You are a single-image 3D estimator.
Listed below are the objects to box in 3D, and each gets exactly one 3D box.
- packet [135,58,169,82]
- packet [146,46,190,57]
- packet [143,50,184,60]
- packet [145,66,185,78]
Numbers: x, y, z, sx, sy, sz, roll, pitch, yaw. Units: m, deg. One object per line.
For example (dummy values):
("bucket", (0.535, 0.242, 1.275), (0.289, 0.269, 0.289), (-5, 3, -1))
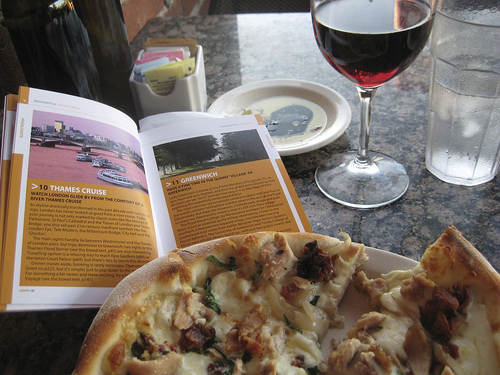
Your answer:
("packet", (-0.222, -0.254, 0.891), (0.055, 0.057, 0.014), (-13, 16, -23))
("packet", (-0.191, -0.321, 0.951), (0.054, 0.008, 0.032), (-6, 51, 1))
("packet", (-0.198, -0.305, 0.928), (0.057, 0.006, 0.036), (-3, 45, 3))
("packet", (-0.176, -0.245, 0.860), (0.067, 0.023, 0.013), (-8, 51, 0))
